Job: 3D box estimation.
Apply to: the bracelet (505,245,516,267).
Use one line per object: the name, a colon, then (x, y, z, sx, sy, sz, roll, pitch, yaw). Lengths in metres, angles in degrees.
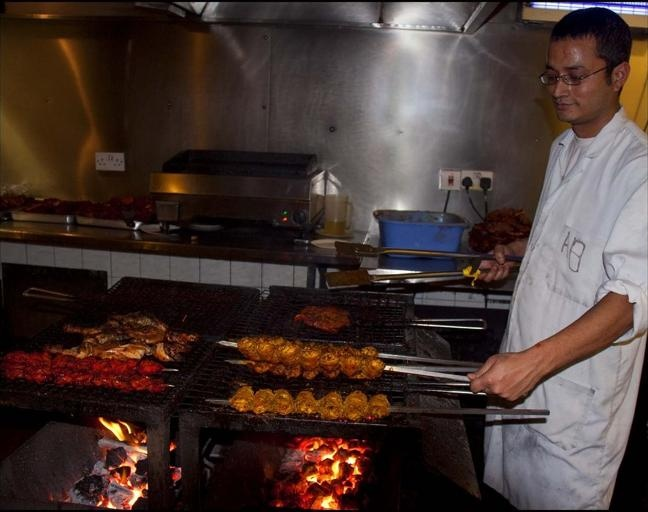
bracelet: (0.962, -0.001, 2.997, 0.032, 0.102, 0.078, -7, -11, 15)

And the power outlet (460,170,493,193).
power outlet: (1.303, -0.639, 4.949, 0.269, 0.171, 0.061, 0, 6, 9)

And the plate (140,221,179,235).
plate: (-1.287, -0.214, 4.468, 0.344, 0.098, 0.177, 2, 4, 1)
